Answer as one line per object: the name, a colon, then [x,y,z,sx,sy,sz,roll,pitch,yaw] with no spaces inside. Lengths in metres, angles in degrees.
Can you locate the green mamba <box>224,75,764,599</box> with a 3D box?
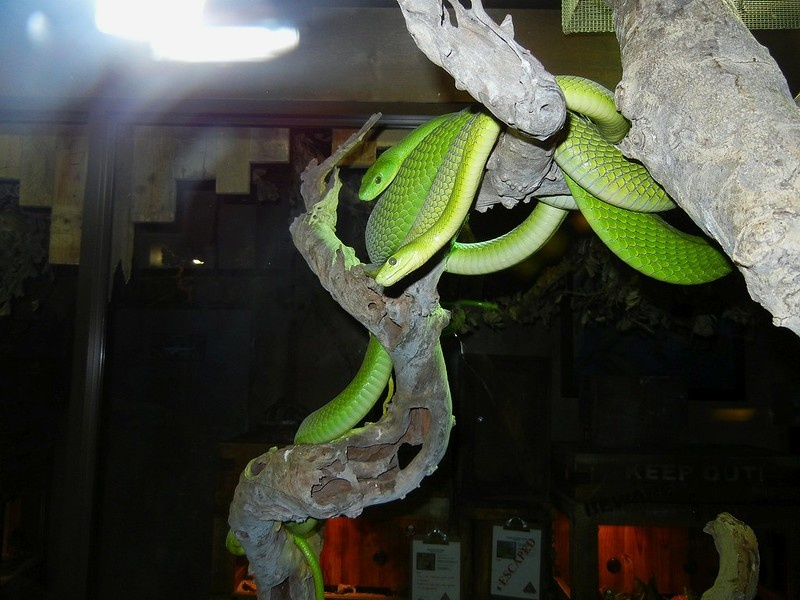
green mamba: [0.642,0.111,4.377,1.797,2.589,0.930,-2,29,11]
